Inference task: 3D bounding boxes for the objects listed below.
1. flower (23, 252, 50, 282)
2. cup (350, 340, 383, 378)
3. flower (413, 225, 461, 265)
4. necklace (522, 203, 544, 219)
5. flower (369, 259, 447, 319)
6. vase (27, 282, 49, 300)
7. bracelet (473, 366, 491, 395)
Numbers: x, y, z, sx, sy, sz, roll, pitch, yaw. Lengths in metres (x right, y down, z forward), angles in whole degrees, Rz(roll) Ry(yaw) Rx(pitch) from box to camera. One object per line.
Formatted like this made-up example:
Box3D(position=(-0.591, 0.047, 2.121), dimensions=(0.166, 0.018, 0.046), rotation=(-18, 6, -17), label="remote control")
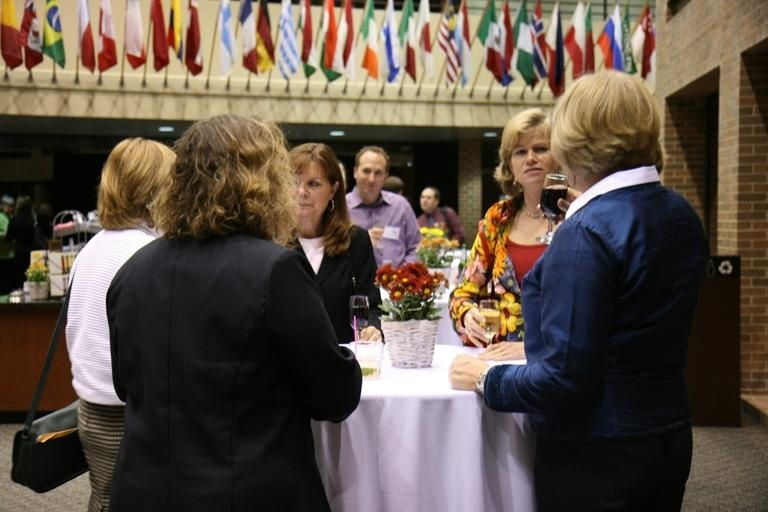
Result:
Box3D(position=(-3.561, 0.103, 7.880), dimensions=(0.202, 0.307, 0.322), rotation=(-3, 6, -26), label="flower")
Box3D(position=(-0.102, 0.605, 4.597), dimensions=(0.171, 0.167, 0.174), rotation=(-2, -2, 0), label="cup")
Box3D(position=(0.541, -0.108, 8.335), dimensions=(0.418, 0.423, 0.419), rotation=(0, -11, -15), label="flower")
Box3D(position=(1.001, -0.318, 5.155), dimensions=(0.093, 0.107, 0.092), rotation=(7, 16, 26), label="necklace")
Box3D(position=(0.171, 0.208, 4.798), dimensions=(0.317, 0.331, 0.357), rotation=(-2, 0, 24), label="flower")
Box3D(position=(-3.502, 0.354, 7.777), dimensions=(0.165, 0.150, 0.177), rotation=(1, 0, 2), label="vase")
Box3D(position=(0.540, 0.711, 4.362), dimensions=(0.047, 0.150, 0.111), rotation=(12, 33, -2), label="bracelet")
